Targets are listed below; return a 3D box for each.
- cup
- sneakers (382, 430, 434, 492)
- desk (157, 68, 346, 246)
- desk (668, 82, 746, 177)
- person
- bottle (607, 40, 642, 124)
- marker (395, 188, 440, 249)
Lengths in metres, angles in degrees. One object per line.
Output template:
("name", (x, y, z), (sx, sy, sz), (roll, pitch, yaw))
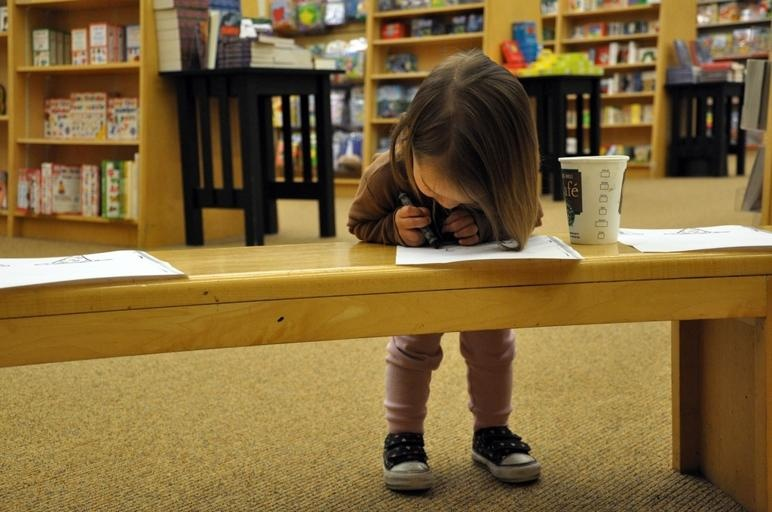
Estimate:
("cup", (0.469, -0.137, 1.531), (0.167, 0.208, 0.184), (-1, 3, -12))
("sneakers", (0.051, 0.516, 1.615), (0.170, 0.098, 0.345), (0, 5, 1))
("desk", (-0.796, -0.576, 3.692), (0.849, 0.992, 0.726), (8, 15, 40))
("desk", (2.870, -1.134, 5.749), (0.459, 1.072, 0.631), (-12, 20, -26))
("person", (0.171, 0.055, 1.659), (0.486, 1.081, 0.717), (-1, 8, -2))
("bottle", (2.378, -1.787, 6.249), (0.082, 0.638, 0.218), (24, 48, 28))
("marker", (0.077, -0.088, 1.517), (0.026, 0.159, 0.030), (-42, 16, -34))
